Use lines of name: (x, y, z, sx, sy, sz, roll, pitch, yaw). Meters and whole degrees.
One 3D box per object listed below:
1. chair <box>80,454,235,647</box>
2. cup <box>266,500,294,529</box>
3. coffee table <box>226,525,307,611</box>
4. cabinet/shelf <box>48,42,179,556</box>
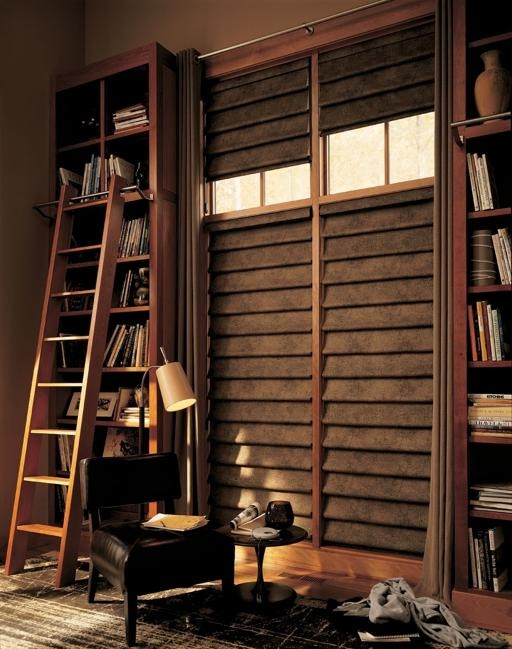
chair: (-0.470, 0.845, 2.484, 0.548, 0.813, 0.663, 2, -9, -31)
cup: (0.099, 0.840, 2.533, 0.116, 0.121, 0.173, 1, -16, 1)
coffee table: (0.019, 1.074, 2.556, 0.319, 0.268, 0.332, -5, -4, 41)
cabinet/shelf: (-0.907, -0.648, 3.631, 0.516, 0.185, 1.945, -3, -60, -13)
